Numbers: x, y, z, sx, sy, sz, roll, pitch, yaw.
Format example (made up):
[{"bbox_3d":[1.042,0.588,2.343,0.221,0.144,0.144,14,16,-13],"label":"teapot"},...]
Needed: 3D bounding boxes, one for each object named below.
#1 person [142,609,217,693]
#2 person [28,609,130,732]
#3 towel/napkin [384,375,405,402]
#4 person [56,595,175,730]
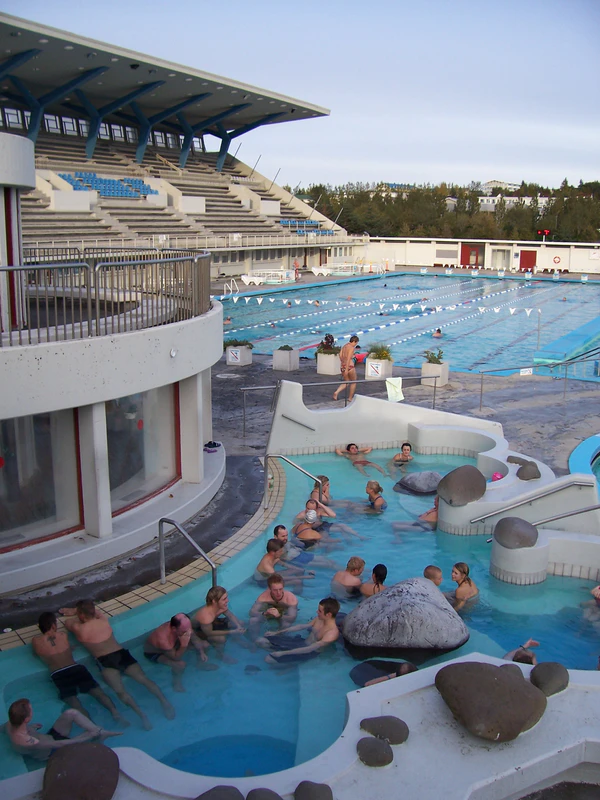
[{"bbox_3d":[-1.105,2.217,5.573,0.632,0.704,0.450,6,26,0],"label":"person"},{"bbox_3d":[-1.872,2.257,5.056,0.365,0.292,1.197,-12,44,-45],"label":"person"},{"bbox_3d":[1.863,-0.260,12.358,0.298,0.502,1.051,1,2,6],"label":"towel/napkin"},{"bbox_3d":[-1.722,2.022,5.396,0.456,0.367,1.602,-1,38,-51],"label":"person"}]
